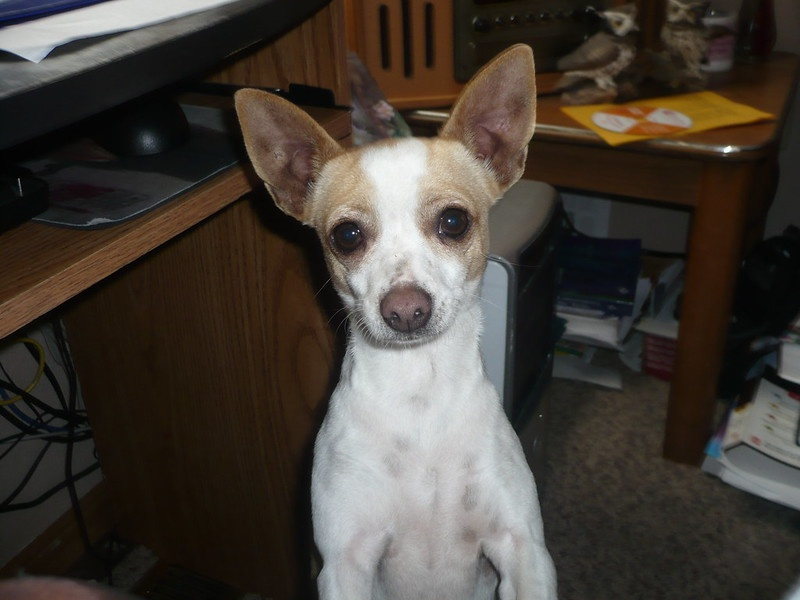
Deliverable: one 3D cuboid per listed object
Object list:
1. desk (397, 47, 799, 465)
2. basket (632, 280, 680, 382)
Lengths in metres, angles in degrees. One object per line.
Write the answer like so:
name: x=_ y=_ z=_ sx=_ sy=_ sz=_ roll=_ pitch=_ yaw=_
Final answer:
desk: x=0.862 y=-0.352 z=2.774 sx=1.355 sy=1.268 sz=1.374 roll=21 pitch=50 yaw=29
basket: x=1.147 y=0.149 z=2.875 sx=0.112 sy=0.376 sz=0.273 roll=5 pitch=10 yaw=-1
